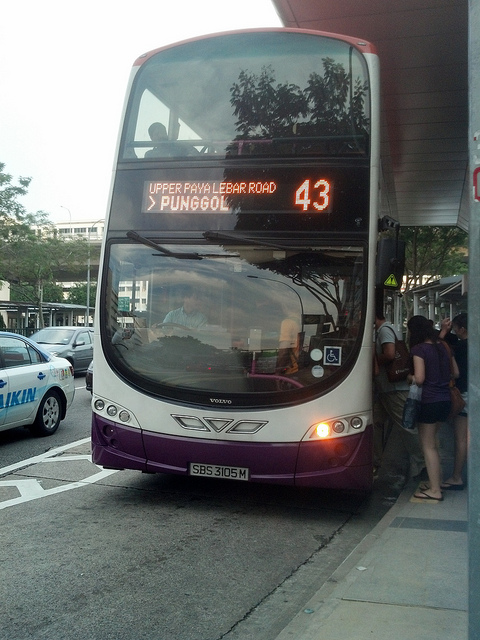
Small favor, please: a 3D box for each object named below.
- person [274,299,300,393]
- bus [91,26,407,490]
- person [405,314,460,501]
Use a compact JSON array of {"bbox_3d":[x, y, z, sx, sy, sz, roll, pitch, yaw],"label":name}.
[{"bbox_3d":[0.416,0.229,4.681,0.209,0.808,0.083,0,-5,6],"label":"person"},{"bbox_3d":[0.085,-1.538,9.010,2.729,4.636,8.828,4,14,-1],"label":"bus"},{"bbox_3d":[1.955,0.879,5.411,0.438,1.822,0.967,-1,-5,22],"label":"person"}]
